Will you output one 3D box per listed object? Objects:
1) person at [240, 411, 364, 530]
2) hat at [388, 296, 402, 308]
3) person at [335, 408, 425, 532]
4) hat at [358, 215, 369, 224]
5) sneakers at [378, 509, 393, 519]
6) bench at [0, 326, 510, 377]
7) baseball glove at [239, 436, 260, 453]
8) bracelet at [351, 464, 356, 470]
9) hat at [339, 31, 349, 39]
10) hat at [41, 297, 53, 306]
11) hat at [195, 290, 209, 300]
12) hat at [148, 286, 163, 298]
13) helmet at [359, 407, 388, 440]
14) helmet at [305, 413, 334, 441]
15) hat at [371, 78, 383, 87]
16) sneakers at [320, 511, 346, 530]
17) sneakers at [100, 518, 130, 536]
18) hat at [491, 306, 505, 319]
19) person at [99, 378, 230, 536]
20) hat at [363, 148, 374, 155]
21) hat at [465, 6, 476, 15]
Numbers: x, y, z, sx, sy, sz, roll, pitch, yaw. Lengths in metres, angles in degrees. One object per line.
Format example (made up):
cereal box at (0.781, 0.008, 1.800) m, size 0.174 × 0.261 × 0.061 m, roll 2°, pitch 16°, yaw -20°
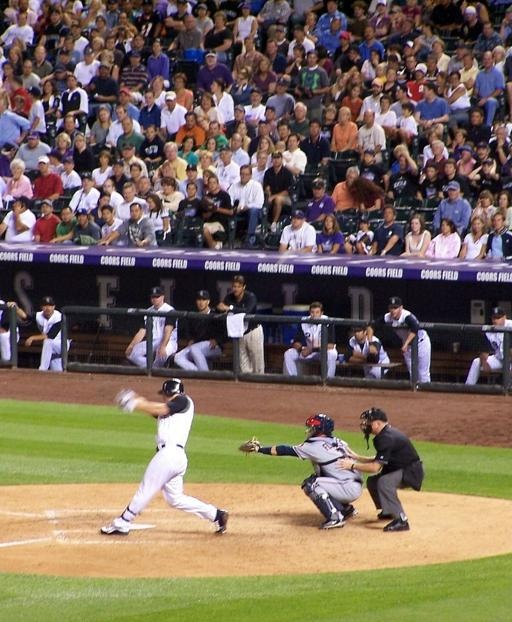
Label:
person at (0.400, 1.526, 14.868) m, size 1.187 × 1.039 × 0.881 m, roll -1°, pitch 7°, yaw -29°
hat at (1.846, -0.114, 20.239) m, size 0.124 × 0.173 × 0.169 m, roll 6°, pitch 20°, yaw 20°
person at (1.260, 1.536, 14.729) m, size 0.609 × 1.184 × 0.649 m, roll 0°, pitch -1°, yaw 33°
hat at (1.562, -1.361, 22.216) m, size 0.114 × 0.110 × 0.139 m, roll 0°, pitch -7°, yaw 12°
sneakers at (1.274, 1.992, 14.847) m, size 0.084 × 0.040 × 0.133 m, roll 10°, pitch -21°, yaw 4°
bench at (-0.241, 0.507, 21.052) m, size 7.754 × 0.870 × 0.631 m, roll -1°, pitch -1°, yaw 21°
baseball glove at (-0.064, 1.247, 14.490) m, size 0.185 × 0.098 × 0.194 m, roll 1°, pitch -15°, yaw -15°
bracelet at (0.937, 1.509, 14.602) m, size 0.038 × 0.061 × 0.059 m, roll 2°, pitch 4°, yaw -1°
hat at (1.554, -4.868, 26.542) m, size 0.158 × 0.113 × 0.225 m, roll 3°, pitch 10°, yaw 5°
hat at (-3.042, -0.159, 22.078) m, size 0.126 × 0.101 × 0.185 m, roll -1°, pitch -4°, yaw -5°
hat at (-0.767, -0.238, 21.635) m, size 0.164 × 0.135 × 0.302 m, roll 0°, pitch -2°, yaw -5°
hat at (-1.423, -0.267, 21.669) m, size 0.157 × 0.141 × 0.313 m, roll 0°, pitch -2°, yaw -4°
helmet at (1.143, 1.100, 14.727) m, size 0.328 × 0.407 × 0.286 m, roll 3°, pitch 4°, yaw 8°
helmet at (0.611, 1.119, 14.785) m, size 0.244 × 0.219 × 0.198 m, roll 0°, pitch -2°, yaw 6°
hat at (1.909, -3.647, 23.909) m, size 0.162 × 0.156 × 0.282 m, roll 3°, pitch 2°, yaw 15°
sneakers at (0.758, 2.044, 14.780) m, size 0.314 × 0.185 × 0.104 m, roll -9°, pitch 4°, yaw -20°
sneakers at (-1.302, 2.007, 14.284) m, size 0.339 × 0.162 × 0.133 m, roll 1°, pitch 41°, yaw 0°
hat at (3.192, 0.021, 19.945) m, size 0.166 × 0.155 × 0.342 m, roll 0°, pitch -2°, yaw 9°
person at (-0.956, 1.386, 14.291) m, size 1.400 × 1.490 × 0.826 m, roll 1°, pitch -2°, yaw -44°
hat at (1.706, -2.440, 22.945) m, size 0.203 × 0.100 × 0.297 m, roll 5°, pitch 0°, yaw 8°
hat at (3.643, -5.134, 25.737) m, size 0.127 × 0.143 × 0.182 m, roll 12°, pitch 22°, yaw 32°
